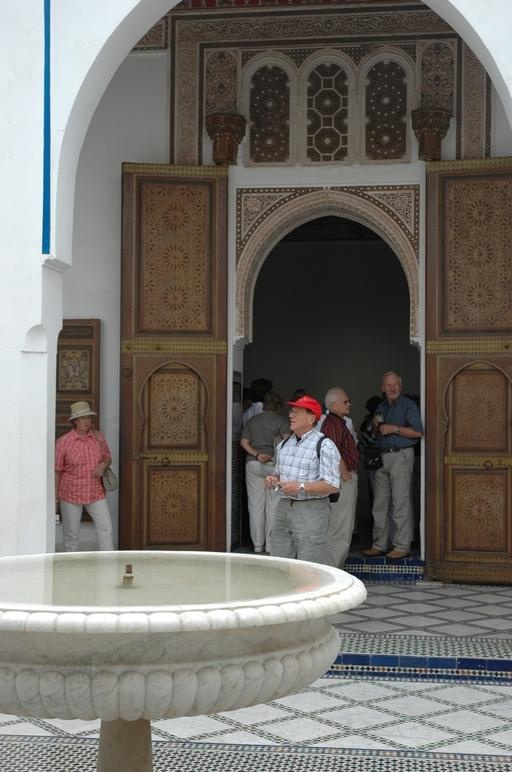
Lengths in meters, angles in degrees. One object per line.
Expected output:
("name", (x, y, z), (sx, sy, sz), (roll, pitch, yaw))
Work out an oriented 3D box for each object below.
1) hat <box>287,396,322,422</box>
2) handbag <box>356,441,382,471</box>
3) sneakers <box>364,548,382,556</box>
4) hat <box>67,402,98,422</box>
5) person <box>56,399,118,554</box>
("hat", (0.221, 0.079, 3.995), (0.138, 0.072, 0.094), (22, -6, -13))
("handbag", (0.688, 0.415, 5.907), (0.126, 0.156, 0.071), (-6, -4, 44))
("sneakers", (0.708, 0.983, 5.942), (0.119, 0.046, 0.039), (7, -3, -14))
("hat", (-0.943, 0.140, 5.372), (0.143, 0.073, 0.137), (-21, -6, 29))
("person", (-0.929, 0.488, 5.406), (0.293, 0.799, 0.324), (0, -1, -8))
